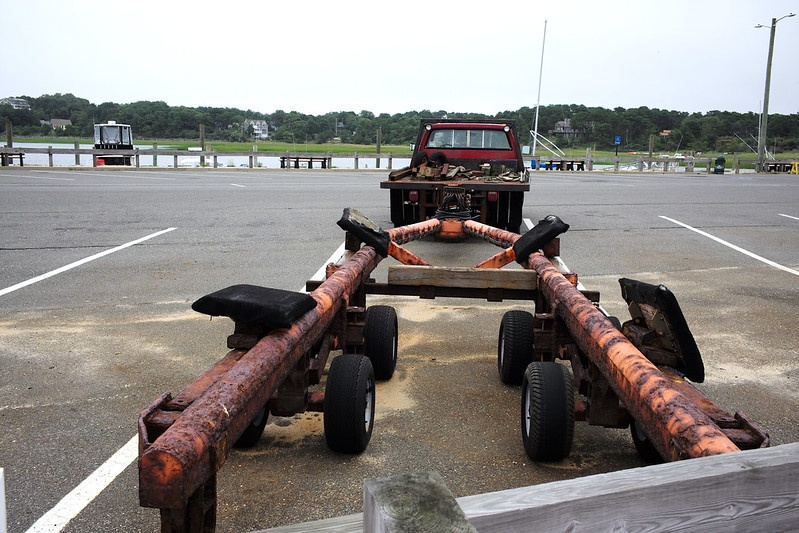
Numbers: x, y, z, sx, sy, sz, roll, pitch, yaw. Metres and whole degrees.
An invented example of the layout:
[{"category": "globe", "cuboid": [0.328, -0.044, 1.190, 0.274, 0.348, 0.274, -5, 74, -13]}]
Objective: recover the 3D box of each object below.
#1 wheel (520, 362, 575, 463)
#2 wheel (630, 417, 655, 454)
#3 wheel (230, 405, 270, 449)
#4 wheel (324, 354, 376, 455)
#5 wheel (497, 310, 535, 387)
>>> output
[{"category": "wheel", "cuboid": [1.032, 1.035, 3.999, 0.266, 0.607, 0.624, 1, 14, 1]}, {"category": "wheel", "cuboid": [1.733, 1.250, 4.121, 0.178, 0.058, 0.178, -23, -2, -1]}, {"category": "wheel", "cuboid": [-1.112, 1.104, 4.237, 0.267, 0.252, 0.099, 21, -44, -34]}, {"category": "wheel", "cuboid": [-0.397, 1.043, 4.356, 0.296, 0.728, 0.757, 2, 1, 3]}, {"category": "wheel", "cuboid": [1.047, 0.749, 5.142, 0.289, 0.630, 0.656, 4, 5, 7]}]
